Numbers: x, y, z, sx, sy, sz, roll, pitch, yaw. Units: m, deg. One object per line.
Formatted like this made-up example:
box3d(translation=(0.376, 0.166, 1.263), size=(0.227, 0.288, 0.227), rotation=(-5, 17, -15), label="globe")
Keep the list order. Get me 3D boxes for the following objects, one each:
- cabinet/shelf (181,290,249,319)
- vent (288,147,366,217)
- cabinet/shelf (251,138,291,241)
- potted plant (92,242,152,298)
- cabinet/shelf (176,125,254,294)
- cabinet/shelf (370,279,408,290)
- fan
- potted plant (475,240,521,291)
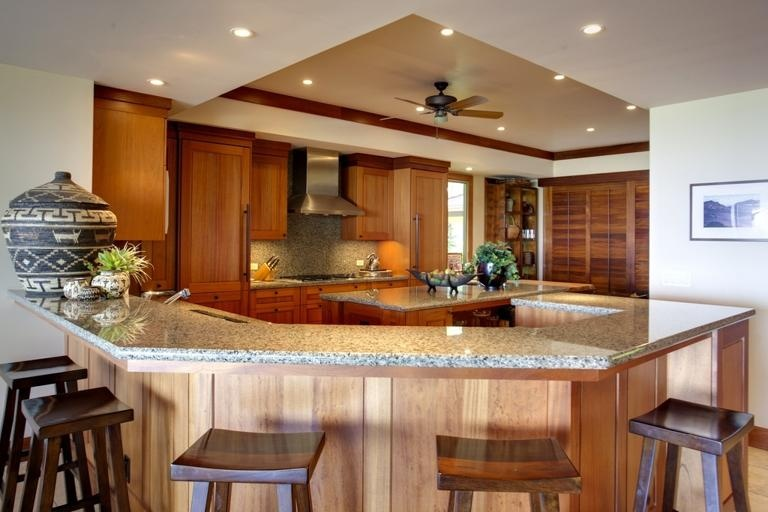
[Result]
box3d(translation=(-1.443, 0.407, 4.657), size=(0.442, 0.342, 0.151), rotation=(0, 0, -41), label="cabinet/shelf")
box3d(translation=(-0.873, -0.897, 6.724), size=(1.170, 0.704, 1.016), rotation=(-2, 7, -25), label="vent")
box3d(translation=(-1.280, -0.714, 6.037), size=(0.217, 1.107, 0.559), rotation=(8, 14, 32), label="cabinet/shelf")
box3d(translation=(-1.845, 0.107, 3.861), size=(0.588, 0.370, 0.533), rotation=(0, -2, -10), label="potted plant")
box3d(translation=(-1.667, -0.459, 5.442), size=(0.785, 1.573, 0.397), rotation=(-4, 13, -21), label="cabinet/shelf")
box3d(translation=(0.060, 0.336, 6.810), size=(0.106, 0.132, 0.635), rotation=(11, 14, 43), label="cabinet/shelf")
box3d(translation=(0.652, -1.442, 5.239), size=(0.664, 0.193, 0.709), rotation=(0, 1, 38), label="fan")
box3d(translation=(1.099, 0.098, 5.454), size=(0.417, 0.442, 0.373), rotation=(2, 11, 8), label="potted plant")
